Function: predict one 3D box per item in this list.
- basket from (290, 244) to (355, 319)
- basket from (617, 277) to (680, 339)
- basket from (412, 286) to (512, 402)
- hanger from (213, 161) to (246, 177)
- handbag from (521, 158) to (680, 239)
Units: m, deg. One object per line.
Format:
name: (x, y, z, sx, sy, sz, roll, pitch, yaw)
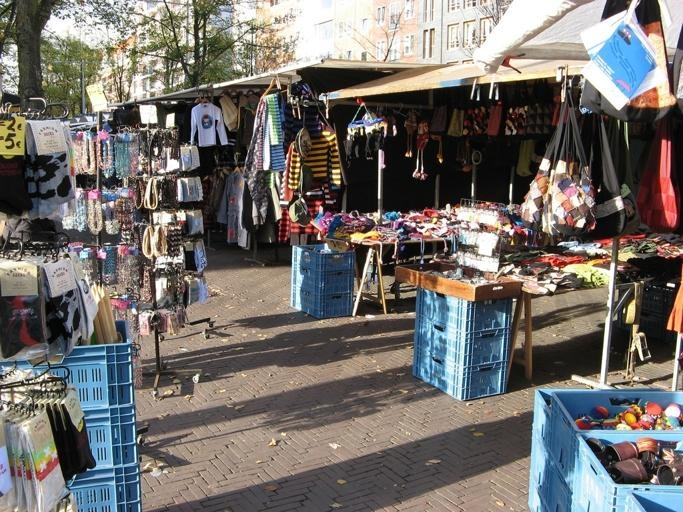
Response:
basket: (-0.311, 0.312, 8.806, 0.941, 0.888, 0.945, 1, 5, -28)
basket: (3.528, 0.571, 7.053, 0.437, 0.531, 0.692, -7, 14, -25)
basket: (1.361, 0.829, 6.409, 0.735, 1.241, 1.159, -2, 11, -26)
hanger: (-2.341, -1.818, 12.868, 0.927, 0.345, 0.715, -2, 12, -8)
handbag: (2.270, -0.542, 5.681, 1.105, 0.711, 0.446, -2, 12, -12)
